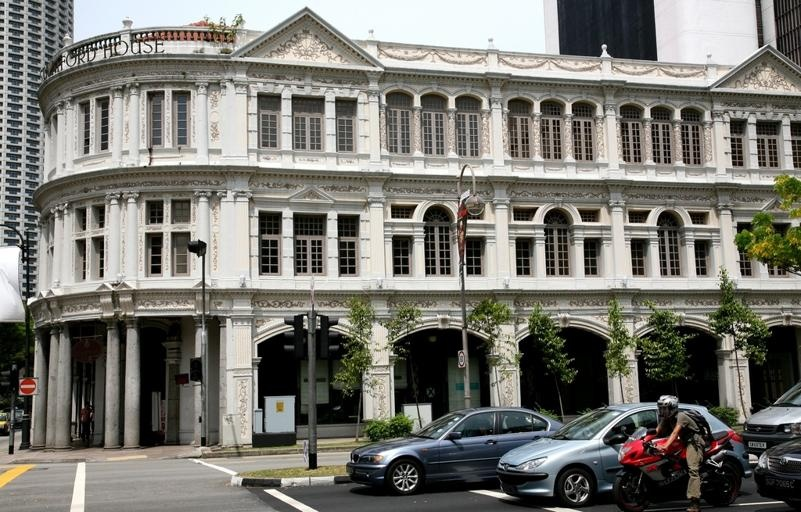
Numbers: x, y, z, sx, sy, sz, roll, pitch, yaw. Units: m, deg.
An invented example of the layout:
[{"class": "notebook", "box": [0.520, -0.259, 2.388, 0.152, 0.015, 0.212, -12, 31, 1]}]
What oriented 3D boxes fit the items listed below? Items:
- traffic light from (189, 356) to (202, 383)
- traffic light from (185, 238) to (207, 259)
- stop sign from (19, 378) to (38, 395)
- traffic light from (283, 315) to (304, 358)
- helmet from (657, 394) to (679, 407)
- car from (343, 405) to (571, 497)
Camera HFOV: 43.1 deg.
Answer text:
[{"class": "traffic light", "box": [-10.847, 5.997, 54.026, 0.506, 1.207, 0.789, -2, -12, 3]}, {"class": "traffic light", "box": [-10.787, -0.447, 53.413, 0.913, 0.864, 1.141, 2, 0, -39]}, {"class": "stop sign", "box": [-19.939, 6.944, 54.318, 1.223, 1.067, 0.227, -8, -15, -4]}, {"class": "traffic light", "box": [-4.469, 3.347, 43.140, 0.899, 1.874, 0.954, 0, -12, -7]}, {"class": "helmet", "box": [9.673, 5.244, 36.555, 0.664, 0.480, 0.496, 10, -10, 0]}, {"class": "car", "box": [2.153, 7.741, 41.049, 8.527, 2.639, 3.475, 2, -9, -13]}]
